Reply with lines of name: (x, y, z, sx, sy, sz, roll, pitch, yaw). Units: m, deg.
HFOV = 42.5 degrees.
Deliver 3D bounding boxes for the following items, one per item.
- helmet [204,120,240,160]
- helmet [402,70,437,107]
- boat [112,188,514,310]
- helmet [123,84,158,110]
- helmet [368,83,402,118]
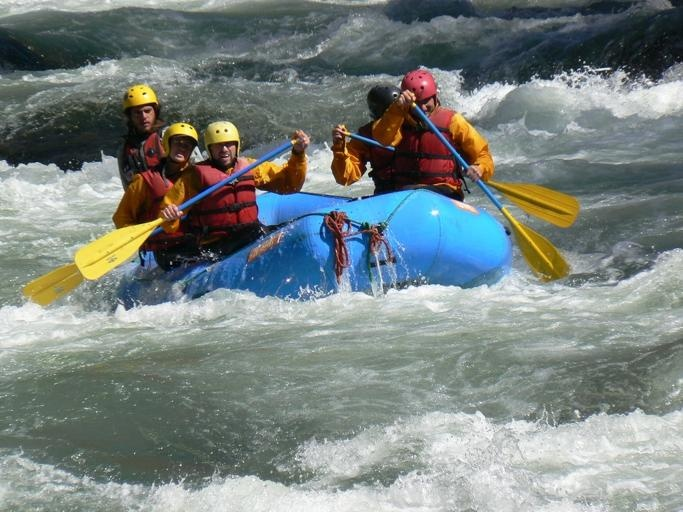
helmet: (-1.122, -1.078, 8.229, 0.356, 0.283, 0.390, -12, 9, -29)
helmet: (0.723, -1.639, 8.376, 0.338, 0.350, 0.266, -9, 54, -4)
boat: (-0.608, 0.031, 8.357, 1.706, 0.503, 2.817, -4, 0, -43)
helmet: (-2.067, -1.593, 9.064, 0.329, 0.344, 0.249, 0, 50, -6)
helmet: (0.416, -1.525, 8.436, 0.345, 0.232, 0.266, 15, 12, 37)
